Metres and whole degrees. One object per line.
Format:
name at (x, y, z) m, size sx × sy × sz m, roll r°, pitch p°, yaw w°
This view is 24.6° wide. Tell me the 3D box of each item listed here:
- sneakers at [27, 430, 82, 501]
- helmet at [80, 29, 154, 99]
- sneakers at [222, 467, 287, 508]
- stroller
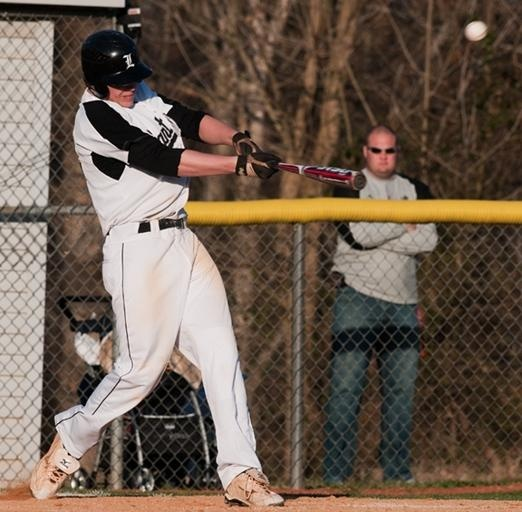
sneakers at (-1.169, 1.227, 6.852) m, size 0.206 × 0.167 × 0.485 m, roll -13°, pitch 38°, yaw 31°
helmet at (-0.819, -1.069, 6.586) m, size 0.429 × 0.302 × 0.320 m, roll 16°, pitch 27°, yaw 37°
sneakers at (-0.041, 1.294, 6.673) m, size 0.333 × 0.168 × 0.147 m, roll -3°, pitch 85°, yaw 25°
stroller at (-0.720, 0.860, 7.311) m, size 0.904 × 1.024 × 1.373 m, roll 10°, pitch 60°, yaw -23°
